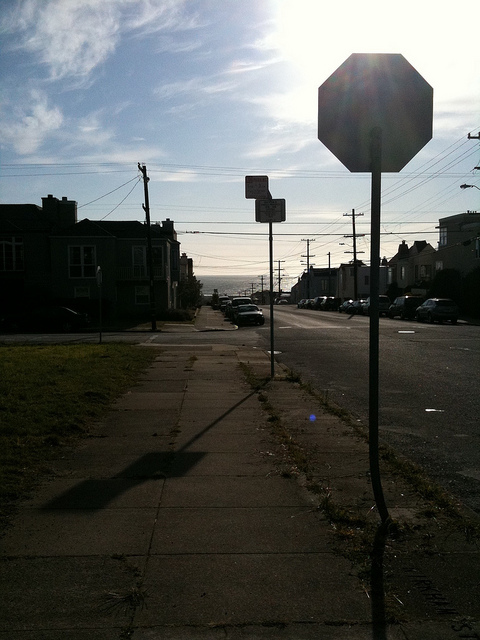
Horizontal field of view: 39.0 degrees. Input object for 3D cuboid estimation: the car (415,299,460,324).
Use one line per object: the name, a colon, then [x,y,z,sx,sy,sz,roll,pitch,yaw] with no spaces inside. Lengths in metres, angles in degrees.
car: [10.640,-0.498,36.747,0.961,1.051,2.487,0,4,-4]

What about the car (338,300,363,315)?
car: [9.646,-1.101,58.820,1.478,0.873,1.120,1,-1,-8]

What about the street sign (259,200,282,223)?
street sign: [0.516,-1.865,11.545,0.388,0.392,0.178,-2,4,3]

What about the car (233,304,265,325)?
car: [0.532,-0.252,39.322,1.390,0.954,2.291,-3,5,-7]

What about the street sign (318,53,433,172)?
street sign: [0.937,-1.446,4.728,0.807,1.080,0.022,2,-24,10]

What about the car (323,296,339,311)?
car: [9.544,-1.716,71.631,1.006,1.348,2.018,0,9,6]

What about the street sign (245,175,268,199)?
street sign: [0.278,-2.263,11.566,0.378,0.375,0.141,-3,4,-4]
